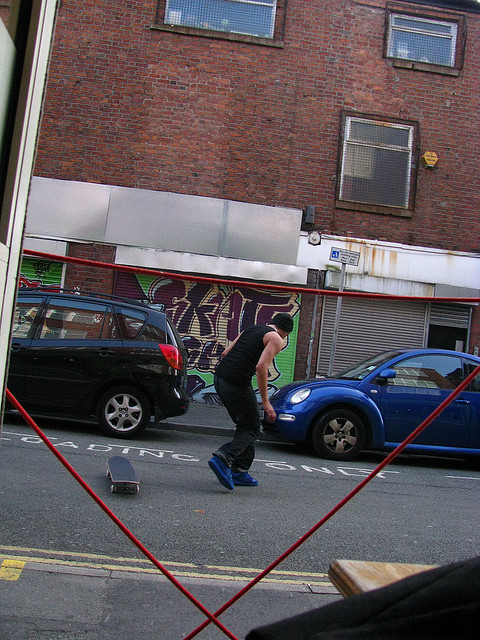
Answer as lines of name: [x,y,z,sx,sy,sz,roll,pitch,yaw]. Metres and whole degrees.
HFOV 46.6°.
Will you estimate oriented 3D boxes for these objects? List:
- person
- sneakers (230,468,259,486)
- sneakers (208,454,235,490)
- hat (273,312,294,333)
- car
person: [0.063,0.819,5.657,0.684,1.579,0.725,10,3,-9]
sneakers: [0.094,1.659,5.907,0.371,0.145,0.126,4,10,-20]
sneakers: [-0.166,1.514,5.568,0.254,0.307,0.269,10,3,15]
hat: [0.494,0.016,5.697,0.233,0.179,0.165,0,34,-44]
car: [1.907,1.168,8.331,3.099,1.175,1.473,5,-6,-1]
